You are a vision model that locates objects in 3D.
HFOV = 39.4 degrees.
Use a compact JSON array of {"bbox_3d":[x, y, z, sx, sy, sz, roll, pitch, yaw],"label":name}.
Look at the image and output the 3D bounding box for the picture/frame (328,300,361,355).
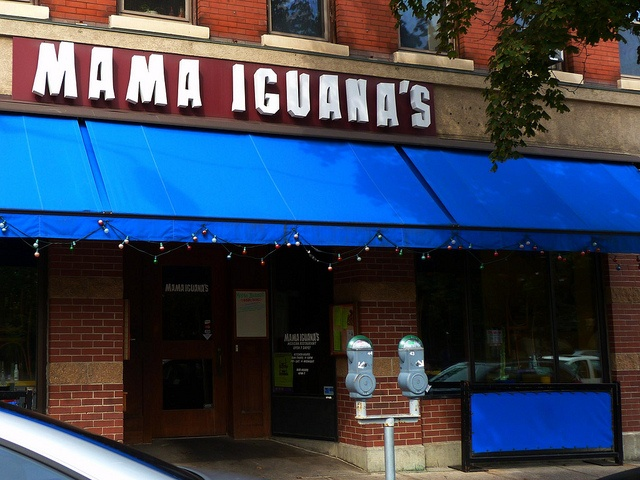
[{"bbox_3d":[0.445,1.388,13.627,0.661,0.834,0.655,-1,-1,-8],"label":"picture/frame"}]
